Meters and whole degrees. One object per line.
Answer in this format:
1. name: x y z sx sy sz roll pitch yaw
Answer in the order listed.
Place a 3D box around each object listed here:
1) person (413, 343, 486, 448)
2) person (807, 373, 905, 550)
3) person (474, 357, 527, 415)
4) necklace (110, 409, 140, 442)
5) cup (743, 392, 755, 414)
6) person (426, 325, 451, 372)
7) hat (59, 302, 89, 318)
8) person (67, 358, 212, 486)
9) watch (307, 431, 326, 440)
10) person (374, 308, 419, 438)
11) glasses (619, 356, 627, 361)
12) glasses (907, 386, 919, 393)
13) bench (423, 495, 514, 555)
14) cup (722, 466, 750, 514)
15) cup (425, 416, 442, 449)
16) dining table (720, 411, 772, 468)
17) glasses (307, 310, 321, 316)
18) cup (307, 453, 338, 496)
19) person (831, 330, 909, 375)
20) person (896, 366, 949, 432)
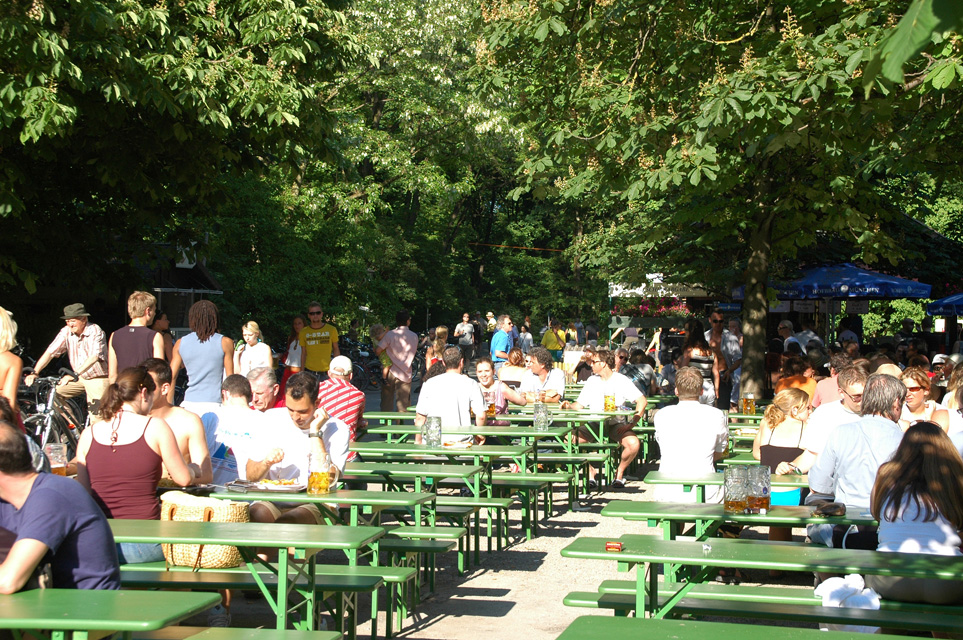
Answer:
1. person: -0.382 0.940 14.451 0.925 1.234 0.797 -3 18 -12
2. person: 4.015 1.338 11.888 0.818 2.018 1.053 -11 35 1
3. person: 0.318 0.963 16.330 0.725 1.105 0.355 -6 39 20
4. necklace: -3.021 0.907 9.642 0.068 0.240 0.185 -3 -20 8
5. cup: 3.924 1.219 16.613 0.268 0.255 0.485 -1 -5 11
6. person: -0.872 0.522 21.622 0.299 0.282 0.981 -8 -33 -11
7. hat: -5.506 -0.111 15.522 0.441 0.174 0.479 -4 -5 -5
8. person: -2.994 0.985 10.500 0.886 0.952 1.507 -3 -3 3
9. watch: -1.546 1.087 10.626 0.105 0.064 0.110 -9 -17 27
10. person: -1.476 0.843 20.222 0.769 2.286 0.585 1 28 -11
11. glasses: 2.470 0.664 19.732 0.092 0.090 0.027 5 4 -25
12. glasses: 4.726 0.759 12.390 0.105 0.063 0.029 0 -8 20
13. bench: 0.017 2.227 12.689 1.051 0.481 0.716 -2 -4 20
14. cup: 2.199 1.454 9.717 0.194 0.390 0.159 2 -8 6
15. cup: -0.557 1.286 13.029 0.162 0.344 0.298 9 -10 -38
16. dining table: 3.479 1.538 15.099 1.055 0.495 0.742 0 -2 15
17. glasses: -2.715 -0.116 18.758 0.172 0.115 0.221 3 -8 -6
18. cup: -1.459 1.425 10.445 0.233 0.347 0.374 4 -8 -8
19. person: 6.923 0.551 20.217 0.363 0.690 1.290 -2 19 -9
20. person: 4.814 0.914 12.547 0.656 0.814 0.367 -3 15 10
